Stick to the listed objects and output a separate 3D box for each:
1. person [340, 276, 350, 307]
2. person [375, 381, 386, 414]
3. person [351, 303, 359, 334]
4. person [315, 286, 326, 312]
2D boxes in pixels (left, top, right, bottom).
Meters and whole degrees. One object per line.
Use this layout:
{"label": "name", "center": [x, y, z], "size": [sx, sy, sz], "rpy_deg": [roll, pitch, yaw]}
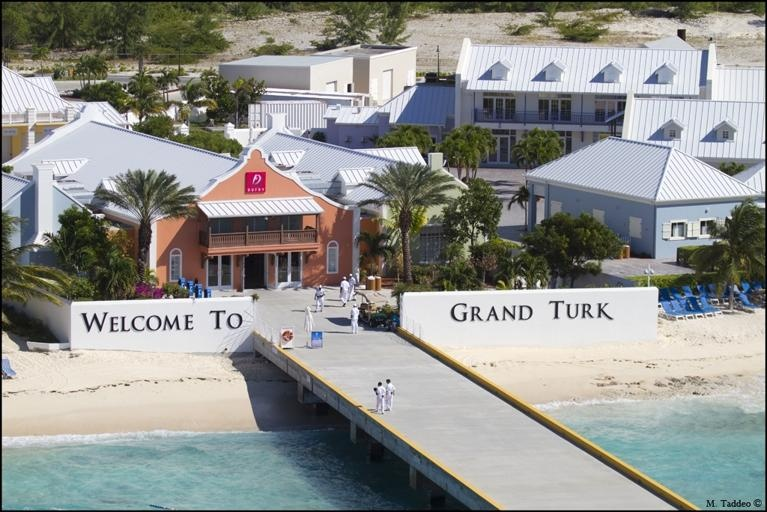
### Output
{"label": "person", "center": [-2.390, 2.335, 93.483], "size": [0.627, 1.637, 1.141], "rpy_deg": [-3, 6, -1]}
{"label": "person", "center": [-0.104, 7.666, 79.343], "size": [0.610, 1.571, 1.485], "rpy_deg": [-3, 6, -1]}
{"label": "person", "center": [-1.686, 3.840, 89.267], "size": [0.501, 1.551, 1.740], "rpy_deg": [-3, 6, -3]}
{"label": "person", "center": [-4.017, 2.670, 92.586], "size": [0.588, 1.542, 2.008], "rpy_deg": [-3, 6, -2]}
